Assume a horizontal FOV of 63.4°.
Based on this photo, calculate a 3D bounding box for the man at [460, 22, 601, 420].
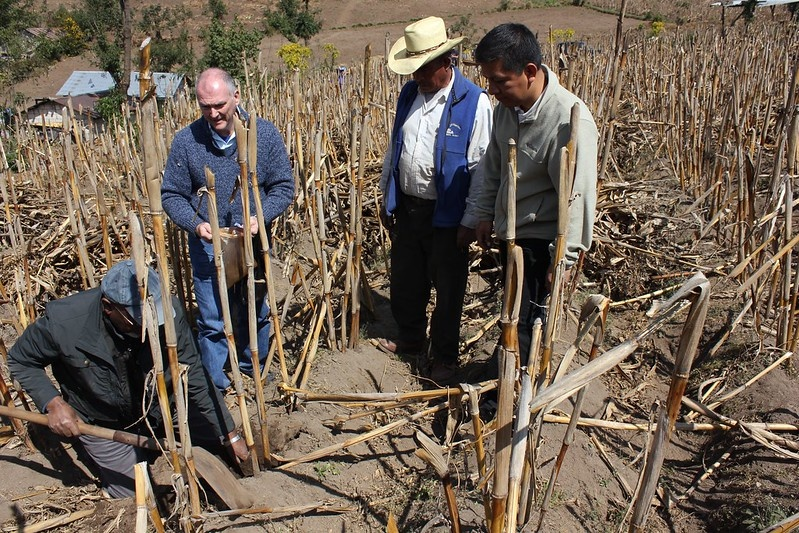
[{"bbox_3d":[0.923,-0.246,4.600,0.908,2.784,0.752,8,22,30],"label":"man"}]

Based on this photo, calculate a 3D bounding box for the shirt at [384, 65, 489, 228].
[{"bbox_3d":[0.296,-0.867,4.944,0.806,1.204,0.642,23,37,26],"label":"shirt"}]

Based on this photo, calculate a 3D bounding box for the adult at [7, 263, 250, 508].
[{"bbox_3d":[-1.861,0.880,4.417,1.079,1.508,0.694,22,45,17],"label":"adult"}]

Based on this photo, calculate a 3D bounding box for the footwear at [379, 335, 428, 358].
[{"bbox_3d":[0.001,0.696,5.607,0.443,0.192,0.155,16,17,-10],"label":"footwear"}]

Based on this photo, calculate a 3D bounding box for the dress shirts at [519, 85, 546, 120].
[{"bbox_3d":[0.902,-1.078,4.403,0.070,0.178,0.134,17,-5,-41],"label":"dress shirts"}]

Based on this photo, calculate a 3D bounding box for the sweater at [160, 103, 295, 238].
[{"bbox_3d":[-1.284,-0.686,4.733,0.965,0.841,0.451,-6,19,-9],"label":"sweater"}]

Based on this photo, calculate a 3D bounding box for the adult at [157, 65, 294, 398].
[{"bbox_3d":[-1.281,-0.195,4.900,0.981,2.442,0.870,-10,24,-29],"label":"adult"}]

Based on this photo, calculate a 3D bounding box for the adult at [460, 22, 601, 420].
[{"bbox_3d":[0.923,-0.246,4.601,0.908,2.784,0.751,8,22,30],"label":"adult"}]

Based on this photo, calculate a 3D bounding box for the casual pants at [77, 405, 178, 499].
[{"bbox_3d":[-2.040,1.393,4.710,0.196,0.627,0.612,-20,26,-2],"label":"casual pants"}]

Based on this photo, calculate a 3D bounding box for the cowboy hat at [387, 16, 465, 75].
[{"bbox_3d":[0.186,-1.623,4.794,0.551,0.400,0.450,0,18,10],"label":"cowboy hat"}]

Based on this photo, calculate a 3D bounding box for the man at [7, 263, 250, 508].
[{"bbox_3d":[-1.861,0.880,4.417,1.079,1.508,0.694,22,45,17],"label":"man"}]
